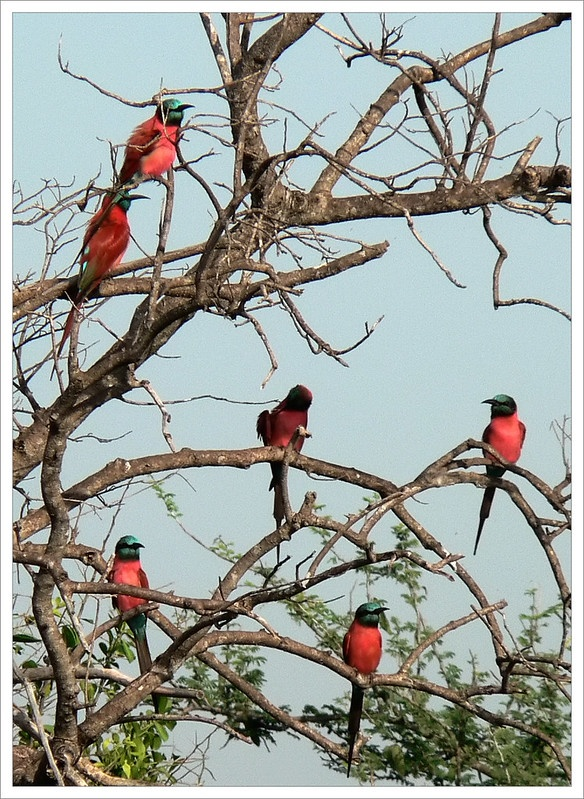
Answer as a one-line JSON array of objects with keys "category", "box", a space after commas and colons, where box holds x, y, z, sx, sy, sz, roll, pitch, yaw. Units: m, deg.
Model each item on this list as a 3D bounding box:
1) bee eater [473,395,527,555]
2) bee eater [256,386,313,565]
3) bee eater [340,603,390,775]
[{"category": "bee eater", "box": [1.299, 0.367, 9.069, 0.283, 1.082, 0.391, 3, 5, -25]}, {"category": "bee eater", "box": [-0.038, 0.438, 10.228, 0.403, 1.057, 0.303, -26, -42, 29]}, {"category": "bee eater", "box": [0.439, 1.874, 9.572, 0.267, 1.249, 0.837, 6, -19, 3]}]
